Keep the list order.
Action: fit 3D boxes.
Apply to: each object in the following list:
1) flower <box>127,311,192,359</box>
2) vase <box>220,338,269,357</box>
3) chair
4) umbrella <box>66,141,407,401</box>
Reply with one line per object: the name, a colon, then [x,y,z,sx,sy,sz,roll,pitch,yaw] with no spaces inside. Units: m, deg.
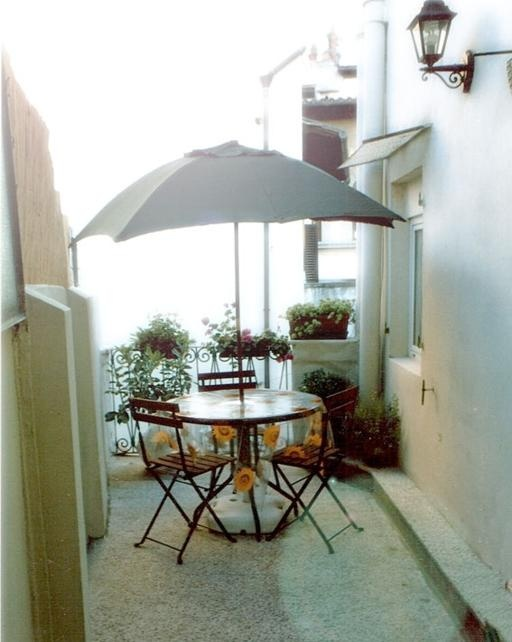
flower: [-0.550,0.084,3.550,0.262,0.187,0.270,1,7,-2]
vase: [-0.054,0.138,3.182,0.191,0.084,0.127,-1,-2,8]
chair: [-0.081,0.697,3.029,0.943,0.650,0.693,-1,6,-3]
umbrella: [-0.104,-0.275,2.291,0.679,0.596,0.697,3,15,33]
